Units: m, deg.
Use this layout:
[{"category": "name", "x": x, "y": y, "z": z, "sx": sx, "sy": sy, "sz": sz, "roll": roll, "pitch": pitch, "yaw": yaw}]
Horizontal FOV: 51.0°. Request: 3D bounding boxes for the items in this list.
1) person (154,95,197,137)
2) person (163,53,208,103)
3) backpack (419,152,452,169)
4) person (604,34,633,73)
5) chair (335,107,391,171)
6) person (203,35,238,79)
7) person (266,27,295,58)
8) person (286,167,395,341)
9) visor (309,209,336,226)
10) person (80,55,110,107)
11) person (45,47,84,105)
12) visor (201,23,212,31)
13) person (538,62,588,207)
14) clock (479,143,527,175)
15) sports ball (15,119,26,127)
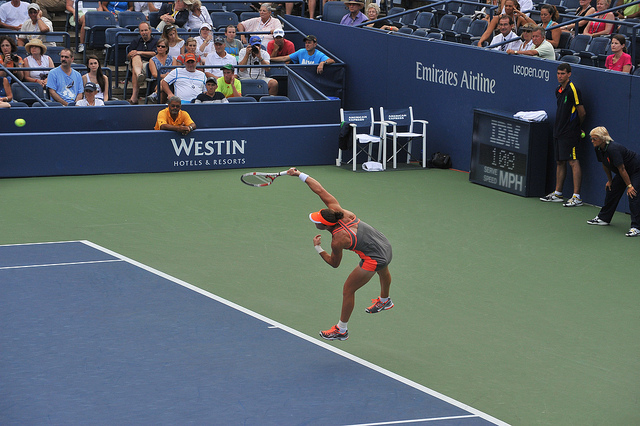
[{"category": "person", "x": -3.519, "y": -2.326, "z": 16.285, "sx": 0.960, "sy": 0.975, "sz": 0.714, "roll": -2, "pitch": 15, "yaw": -14}, {"category": "person", "x": -3.394, "y": -3.433, "z": 17.361, "sx": 1.381, "sy": 1.281, "sz": 0.669, "roll": -3, "pitch": 15, "yaw": -34}, {"category": "backpack", "x": 3.036, "y": -1.345, "z": 17.341, "sx": 0.567, "sy": 0.234, "sz": 0.366, "roll": 1, "pitch": 8, "yaw": 29}, {"category": "person", "x": 6.606, "y": -3.488, "z": 14.759, "sx": 0.478, "sy": 0.782, "sz": 0.842, "roll": 5, "pitch": 15, "yaw": 13}, {"category": "chair", "x": 1.098, "y": -1.909, "z": 17.198, "sx": 1.202, "sy": 1.470, "sz": 1.050, "roll": -5, "pitch": 13, "yaw": -27}, {"category": "person", "x": -2.650, "y": -4.175, "z": 18.191, "sx": 0.817, "sy": 1.060, "sz": 0.803, "roll": 1, "pitch": 9, "yaw": 23}, {"category": "person", "x": -1.141, "y": -4.651, "z": 19.626, "sx": 0.791, "sy": 1.292, "sz": 0.686, "roll": 0, "pitch": 13, "yaw": -3}, {"category": "person", "x": 0.396, "y": 0.636, "z": 9.354, "sx": 1.325, "sy": 2.163, "sz": 1.072, "roll": 2, "pitch": 15, "yaw": 3}, {"category": "visor", "x": 0.031, "y": 0.060, "z": 8.894, "sx": 0.268, "sy": 0.088, "sz": 0.177, "roll": 17, "pitch": 7, "yaw": 4}, {"category": "person", "x": -5.537, "y": -3.105, "z": 16.846, "sx": 0.668, "sy": 1.507, "sz": 0.902, "roll": -11, "pitch": 20, "yaw": -32}, {"category": "person", "x": -6.279, "y": -3.275, "z": 16.713, "sx": 0.939, "sy": 1.444, "sz": 0.910, "roll": 2, "pitch": 5, "yaw": 12}, {"category": "visor", "x": -3.183, "y": -5.224, "z": 18.914, "sx": 0.275, "sy": 0.154, "sz": 0.494, "roll": -1, "pitch": 15, "yaw": -9}, {"category": "person", "x": 5.311, "y": -1.664, "z": 14.358, "sx": 0.852, "sy": 2.970, "sz": 0.661, "roll": 7, "pitch": 16, "yaw": 21}, {"category": "clock", "x": 4.260, "y": -1.196, "z": 15.402, "sx": 0.072, "sy": 0.683, "sz": 1.611, "roll": -1, "pitch": 10, "yaw": -35}, {"category": "sports ball", "x": -6.969, "y": -2.093, "z": 15.659, "sx": 0.165, "sy": 0.101, "sz": 0.167, "roll": 1, "pitch": 21, "yaw": 0}]
